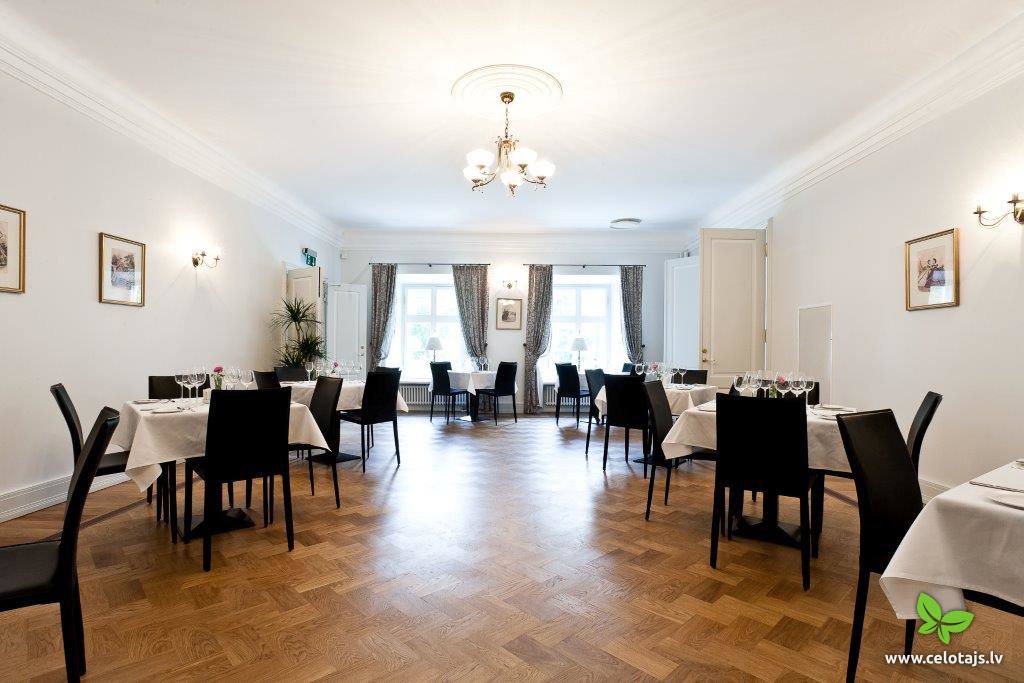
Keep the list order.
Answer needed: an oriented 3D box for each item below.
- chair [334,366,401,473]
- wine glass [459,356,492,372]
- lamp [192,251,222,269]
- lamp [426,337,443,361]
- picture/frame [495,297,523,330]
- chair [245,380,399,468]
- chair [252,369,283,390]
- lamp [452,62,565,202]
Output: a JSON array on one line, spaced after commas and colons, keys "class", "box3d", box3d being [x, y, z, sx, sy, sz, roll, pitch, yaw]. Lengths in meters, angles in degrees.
[{"class": "chair", "box3d": [-1.575, 0.818, 7.167, 0.621, 1.243, 1.387, -3, 13, -13]}, {"class": "wine glass", "box3d": [-0.628, 0.446, 11.153, 0.458, 0.320, 0.251, 0, -9, 3]}, {"class": "lamp", "box3d": [-3.506, -0.927, 7.292, 0.166, 0.144, 0.237, -3, -5, 13]}, {"class": "lamp", "box3d": [-1.354, 0.128, 11.068, 0.249, 0.567, 0.932, -2, 12, -8]}, {"class": "picture/frame", "box3d": [-0.069, -0.489, 11.037, 0.543, 0.656, 0.044, 1, -6, -3]}, {"class": "chair", "box3d": [-1.848, 0.719, 6.887, 1.053, 0.643, 1.192, -3, -5, 44]}, {"class": "chair", "box3d": [-2.582, 0.405, 6.723, 0.167, 0.277, 0.193, 1, -6, -18]}, {"class": "lamp", "box3d": [-0.056, -2.029, 6.176, 0.996, 0.977, 0.996, 1, -1, -43]}]
